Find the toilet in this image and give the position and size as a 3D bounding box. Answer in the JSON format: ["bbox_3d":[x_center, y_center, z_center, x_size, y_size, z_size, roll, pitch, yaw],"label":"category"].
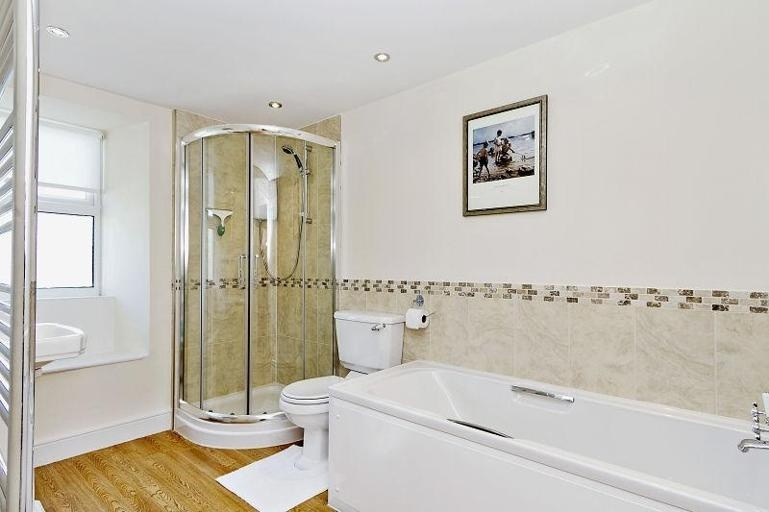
[{"bbox_3d":[-0.387,1.020,4.036,0.652,1.108,1.041,3,3,44],"label":"toilet"}]

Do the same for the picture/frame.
[{"bbox_3d":[0.877,-0.703,3.658,0.907,1.041,0.069,-2,-5,34],"label":"picture/frame"}]

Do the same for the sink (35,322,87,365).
[{"bbox_3d":[-2.081,0.586,3.311,0.264,0.258,0.515,-2,1,-34],"label":"sink"}]

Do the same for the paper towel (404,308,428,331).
[{"bbox_3d":[0.234,0.501,4.021,0.208,0.185,0.116,0,2,37],"label":"paper towel"}]
